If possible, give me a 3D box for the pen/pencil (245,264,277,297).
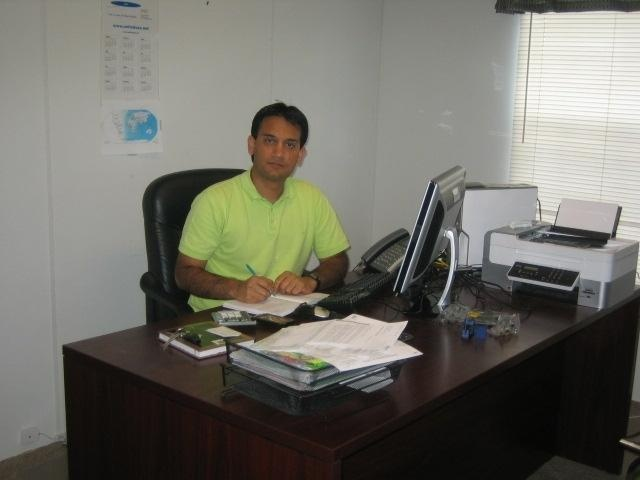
[{"bbox_3d":[-0.247,0.168,2.014,0.027,0.029,0.204,18,-18,25],"label":"pen/pencil"}]

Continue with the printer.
[{"bbox_3d":[1.071,0.018,2.170,0.555,0.433,0.499,10,16,44],"label":"printer"}]

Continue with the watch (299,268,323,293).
[{"bbox_3d":[-0.028,0.177,2.112,0.077,0.025,0.078,-14,29,23],"label":"watch"}]

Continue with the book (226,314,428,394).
[{"bbox_3d":[0.016,0.298,1.324,0.224,0.053,0.252,6,16,36],"label":"book"}]
